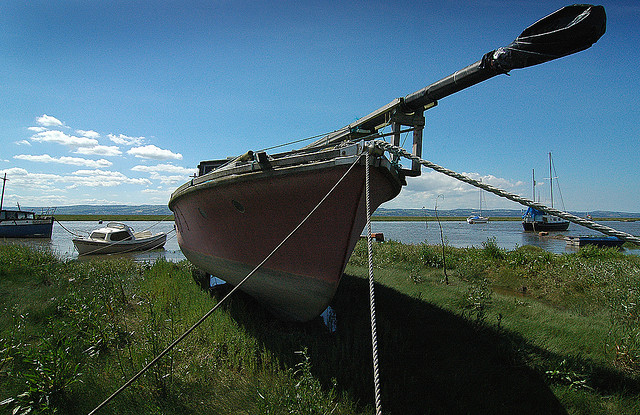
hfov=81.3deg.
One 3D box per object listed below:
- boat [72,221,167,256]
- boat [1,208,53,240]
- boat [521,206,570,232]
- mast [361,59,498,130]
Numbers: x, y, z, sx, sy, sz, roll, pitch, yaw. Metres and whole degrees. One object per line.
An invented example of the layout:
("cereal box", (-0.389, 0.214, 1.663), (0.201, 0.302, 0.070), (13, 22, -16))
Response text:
("boat", (-11.572, 1.771, 21.973), (2.754, 1.964, 5.573), (3, 2, 34))
("boat", (-23.845, 1.472, 30.313), (1.360, 2.565, 4.452), (1, 1, 7))
("boat", (27.783, 1.709, 45.050), (7.092, 2.719, 1.986), (5, -4, -23))
("mast", (2.573, -2.712, 9.207), (3.744, 0.584, 0.605), (-18, 29, 45))
